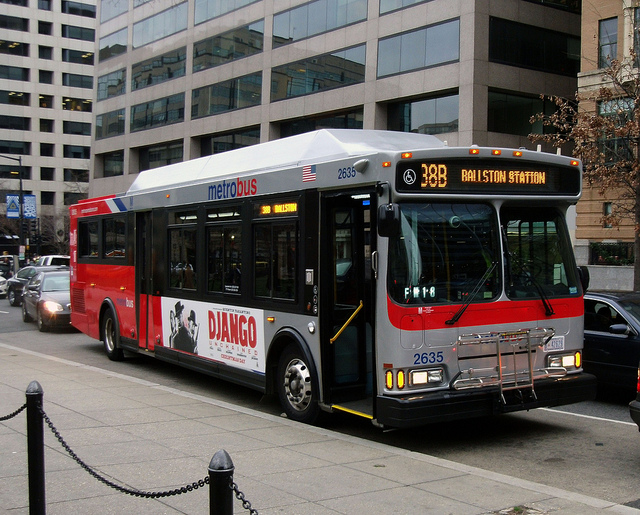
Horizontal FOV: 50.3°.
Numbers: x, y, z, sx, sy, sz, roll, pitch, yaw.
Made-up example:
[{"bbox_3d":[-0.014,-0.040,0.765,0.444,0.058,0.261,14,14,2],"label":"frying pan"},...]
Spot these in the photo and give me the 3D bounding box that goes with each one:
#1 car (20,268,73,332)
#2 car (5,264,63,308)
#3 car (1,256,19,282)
[{"bbox_3d":[-8.110,1.244,20.555,1.537,1.539,3.725,1,-2,-30],"label":"car"},{"bbox_3d":[-11.367,1.074,27.242,1.886,1.822,4.434,1,-6,-33],"label":"car"},{"bbox_3d":[-16.783,0.631,36.871,1.054,1.173,1.849,-1,-3,-32],"label":"car"}]
